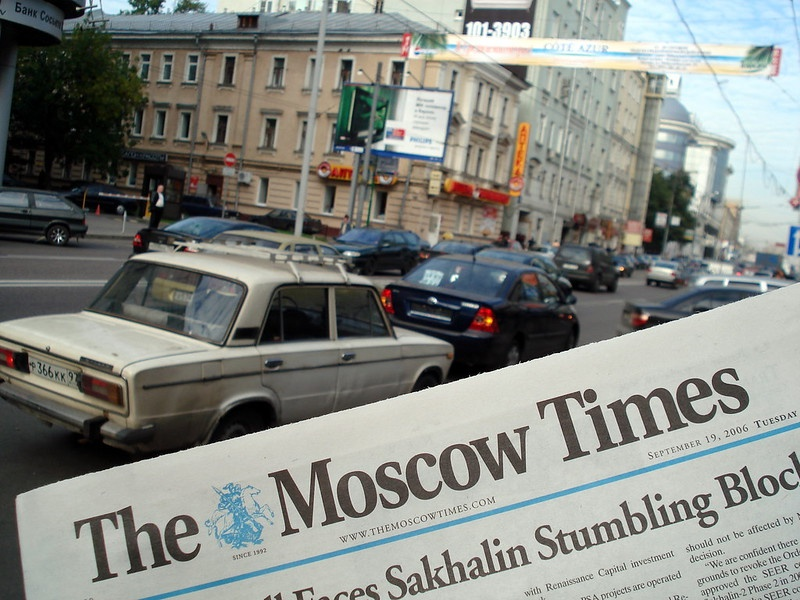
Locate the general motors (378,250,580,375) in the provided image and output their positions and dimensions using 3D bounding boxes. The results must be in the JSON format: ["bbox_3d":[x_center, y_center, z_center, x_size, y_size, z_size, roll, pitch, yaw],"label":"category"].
[{"bbox_3d":[1.345,0.024,10.793,1.220,1.038,2.847,3,9,29],"label":"general motors"}]

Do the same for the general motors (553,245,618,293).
[{"bbox_3d":[7.171,-1.245,30.249,1.279,1.338,2.999,3,10,25],"label":"general motors"}]

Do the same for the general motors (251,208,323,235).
[{"bbox_3d":[-5.685,-3.416,39.904,3.507,1.404,1.633,20,18,32],"label":"general motors"}]

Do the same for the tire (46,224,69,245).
[{"bbox_3d":[-8.528,-1.632,19.945,0.383,0.458,0.143,-6,14,-34],"label":"tire"}]

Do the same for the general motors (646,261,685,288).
[{"bbox_3d":[13.512,-1.262,40.392,0.937,0.872,2.380,3,10,27],"label":"general motors"}]

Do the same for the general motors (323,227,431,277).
[{"bbox_3d":[-0.736,-1.561,25.913,1.767,1.515,4.013,8,7,34],"label":"general motors"}]
